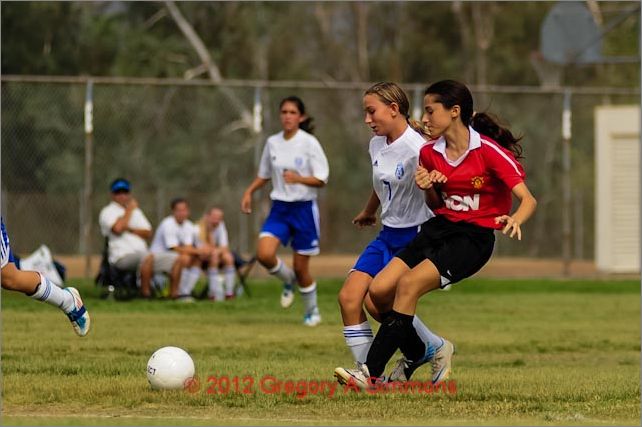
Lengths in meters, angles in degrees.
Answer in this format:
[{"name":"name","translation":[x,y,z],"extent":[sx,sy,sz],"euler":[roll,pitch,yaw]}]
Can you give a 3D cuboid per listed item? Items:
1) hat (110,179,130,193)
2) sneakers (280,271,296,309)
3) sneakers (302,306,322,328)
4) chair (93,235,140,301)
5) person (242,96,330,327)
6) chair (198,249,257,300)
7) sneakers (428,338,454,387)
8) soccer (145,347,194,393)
[{"name":"hat","translation":[-3.610,-0.491,20.739],"extent":[0.299,0.251,0.577],"euler":[2,-2,-15]},{"name":"sneakers","translation":[-0.610,1.289,19.941],"extent":[0.192,0.617,0.248],"euler":[5,-10,27]},{"name":"sneakers","translation":[-0.152,1.744,19.368],"extent":[0.173,0.271,0.381],"euler":[-4,-10,11]},{"name":"chair","translation":[-3.965,1.105,21.336],"extent":[1.002,1.468,0.850],"euler":[0,-2,27]},{"name":"person","translation":[-0.574,-0.028,19.168],"extent":[1.214,3.765,1.092],"euler":[2,-2,-25]},{"name":"chair","translation":[-1.537,1.086,21.919],"extent":[0.855,0.970,1.007],"euler":[10,-9,-34]},{"name":"sneakers","translation":[1.712,2.094,16.620],"extent":[0.279,0.700,0.241],"euler":[9,5,-20]},{"name":"soccer","translation":[-2.160,2.172,16.567],"extent":[0.565,0.586,0.572],"euler":[31,21,-7]}]
